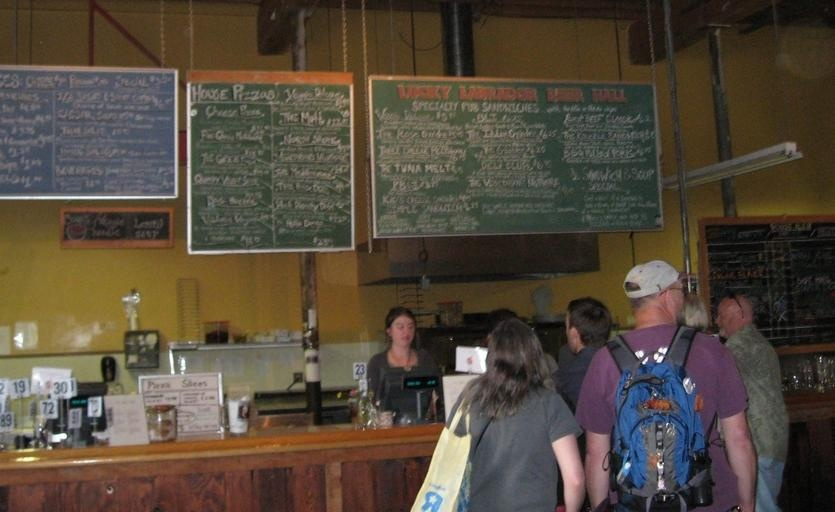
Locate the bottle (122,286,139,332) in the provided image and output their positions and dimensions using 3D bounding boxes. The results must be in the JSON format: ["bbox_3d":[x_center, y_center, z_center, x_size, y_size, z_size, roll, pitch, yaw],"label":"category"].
[{"bbox_3d":[-3.477,0.638,11.476,0.217,0.515,0.174,-3,-5,-6],"label":"bottle"}]

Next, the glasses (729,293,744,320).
[{"bbox_3d":[2.831,0.441,8.384,0.096,0.190,0.179,-20,-26,31],"label":"glasses"}]

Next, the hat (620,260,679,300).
[{"bbox_3d":[1.776,0.195,7.291,0.170,0.279,0.381,-4,10,-36],"label":"hat"}]

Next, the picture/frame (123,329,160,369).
[{"bbox_3d":[-3.350,1.155,11.504,0.417,0.484,0.273,2,-23,-23],"label":"picture/frame"}]

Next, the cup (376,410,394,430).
[{"bbox_3d":[-0.293,1.433,8.379,0.145,0.137,0.213,-4,-5,4],"label":"cup"}]

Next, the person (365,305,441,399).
[{"bbox_3d":[-0.167,0.987,9.630,0.711,1.254,0.418,1,-18,-13],"label":"person"}]

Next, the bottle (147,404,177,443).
[{"bbox_3d":[-2.233,1.458,8.281,0.279,0.316,0.282,-3,-6,23],"label":"bottle"}]

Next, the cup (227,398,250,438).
[{"bbox_3d":[-1.592,1.405,8.431,0.193,0.318,0.149,-2,-5,-11],"label":"cup"}]

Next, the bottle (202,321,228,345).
[{"bbox_3d":[-2.386,0.868,11.227,0.315,0.322,0.239,1,1,-23],"label":"bottle"}]

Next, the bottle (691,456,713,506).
[{"bbox_3d":[2.159,1.673,7.185,0.205,0.404,0.076,-1,-5,-28],"label":"bottle"}]
